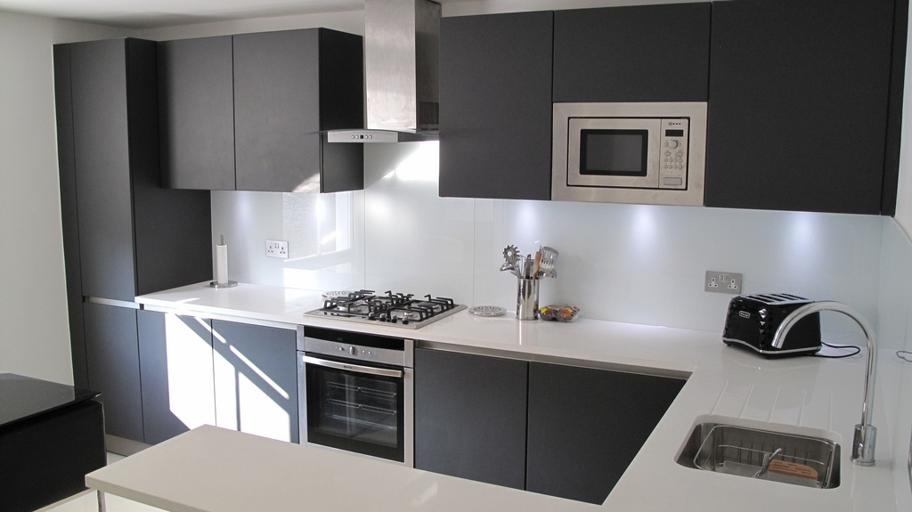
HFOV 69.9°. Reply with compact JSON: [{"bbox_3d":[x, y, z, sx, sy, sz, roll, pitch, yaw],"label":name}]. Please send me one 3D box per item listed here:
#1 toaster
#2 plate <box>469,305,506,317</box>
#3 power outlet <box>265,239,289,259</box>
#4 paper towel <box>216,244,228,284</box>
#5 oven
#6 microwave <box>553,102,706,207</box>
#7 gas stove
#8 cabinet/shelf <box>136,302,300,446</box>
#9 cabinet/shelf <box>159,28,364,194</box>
[{"bbox_3d":[2.083,0.453,4.244,0.586,0.301,0.564,2,6,20],"label":"toaster"},{"bbox_3d":[0.236,0.410,4.783,0.269,0.039,0.174,1,9,1],"label":"plate"},{"bbox_3d":[-1.480,-0.058,5.443,0.183,0.109,0.013,2,6,19],"label":"power outlet"},{"bbox_3d":[-1.995,0.055,5.562,0.111,0.336,0.287,-3,10,-20],"label":"paper towel"},{"bbox_3d":[-0.555,0.974,4.847,1.052,0.895,0.695,2,5,32],"label":"oven"},{"bbox_3d":[1.168,-0.688,4.420,1.324,0.740,0.656,3,7,19],"label":"microwave"},{"bbox_3d":[-0.505,0.364,4.786,1.071,0.157,0.580,3,9,14],"label":"gas stove"},{"bbox_3d":[-1.708,0.845,4.838,1.153,0.851,0.570,5,11,23],"label":"cabinet/shelf"},{"bbox_3d":[-1.581,-1.136,5.357,1.825,1.193,0.620,5,9,28],"label":"cabinet/shelf"}]
